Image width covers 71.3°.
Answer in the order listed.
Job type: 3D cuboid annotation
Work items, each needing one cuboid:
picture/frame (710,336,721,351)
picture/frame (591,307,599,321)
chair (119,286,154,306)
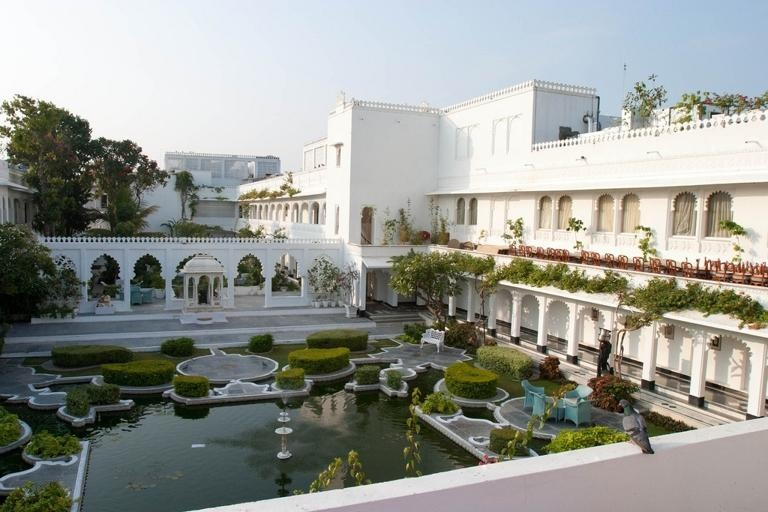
[{"bbox_3d":[12.989,3.397,21.028,0.398,0.620,0.220,8,12,33],"label":"picture/frame"},{"bbox_3d":[10.162,2.829,25.942,0.130,0.594,0.642,-1,10,-15],"label":"picture/frame"},{"bbox_3d":[-15.668,2.535,34.809,1.234,0.909,1.241,3,18,-4],"label":"chair"}]
